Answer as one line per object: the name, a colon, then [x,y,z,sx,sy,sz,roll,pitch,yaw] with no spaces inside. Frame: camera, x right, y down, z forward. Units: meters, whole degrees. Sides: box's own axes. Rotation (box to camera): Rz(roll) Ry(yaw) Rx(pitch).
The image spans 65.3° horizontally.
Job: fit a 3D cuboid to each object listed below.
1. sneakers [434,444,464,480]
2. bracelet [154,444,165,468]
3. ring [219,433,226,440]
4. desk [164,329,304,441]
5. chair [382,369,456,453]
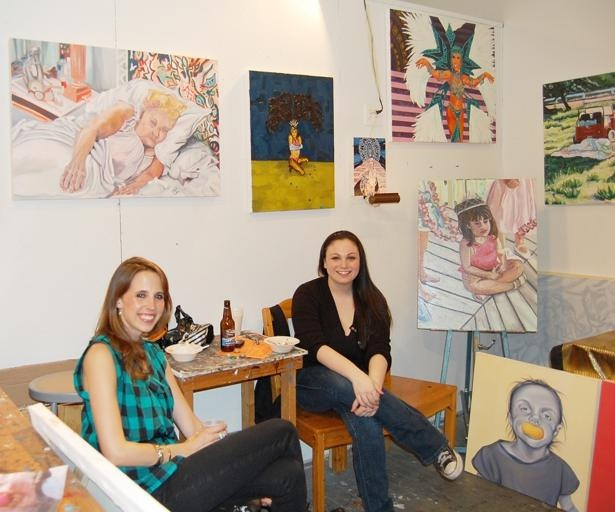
sneakers: [0.671,0.979,2.290,0.079,0.083,0.203,33,0,5]
bracelet: [-0.471,0.639,1.530,0.020,0.053,0.039,-4,8,-21]
ring: [-0.310,0.655,1.759,0.023,0.019,0.024,1,0,0]
desk: [-0.377,0.526,2.246,0.534,0.571,0.536,-7,9,-39]
chair: [0.622,0.752,2.728,0.411,0.442,0.422,5,8,39]
